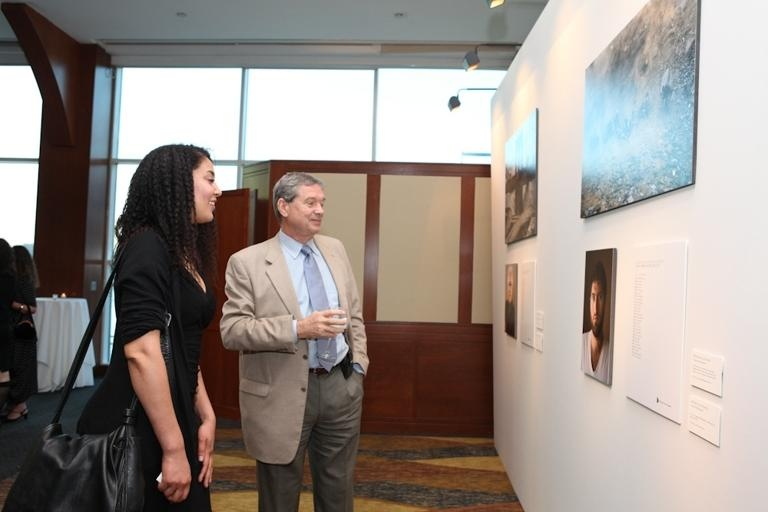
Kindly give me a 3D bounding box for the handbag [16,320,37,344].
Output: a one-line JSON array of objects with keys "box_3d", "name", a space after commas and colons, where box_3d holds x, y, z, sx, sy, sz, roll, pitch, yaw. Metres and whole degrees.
[{"box_3d": [-3.605, 0.738, 5.506, 0.148, 0.220, 0.198, 6, -12, -34], "name": "handbag"}]
